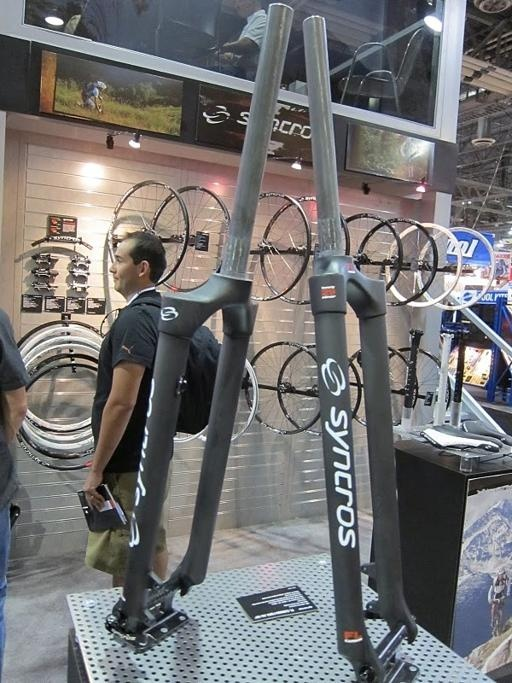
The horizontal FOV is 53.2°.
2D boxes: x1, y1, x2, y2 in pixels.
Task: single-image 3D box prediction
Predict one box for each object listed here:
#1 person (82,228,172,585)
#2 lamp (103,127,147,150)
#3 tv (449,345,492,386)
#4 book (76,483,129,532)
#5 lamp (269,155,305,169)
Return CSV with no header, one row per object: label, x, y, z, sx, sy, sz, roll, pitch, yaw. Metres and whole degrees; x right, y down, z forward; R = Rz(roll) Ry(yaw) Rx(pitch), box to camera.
person,-0.496,0.274,2.047,0.336,1.452,0.494,3,-1,-9
lamp,-0.883,-1.381,3.452,0.288,0.107,0.173,0,-32,-8
tv,5.195,0.600,12.088,0.216,0.768,0.857,3,-1,-8
book,-0.569,0.604,1.963,0.194,0.192,0.057,-29,-4,12
lamp,0.237,-1.376,3.925,0.268,0.087,0.104,9,-19,-24
